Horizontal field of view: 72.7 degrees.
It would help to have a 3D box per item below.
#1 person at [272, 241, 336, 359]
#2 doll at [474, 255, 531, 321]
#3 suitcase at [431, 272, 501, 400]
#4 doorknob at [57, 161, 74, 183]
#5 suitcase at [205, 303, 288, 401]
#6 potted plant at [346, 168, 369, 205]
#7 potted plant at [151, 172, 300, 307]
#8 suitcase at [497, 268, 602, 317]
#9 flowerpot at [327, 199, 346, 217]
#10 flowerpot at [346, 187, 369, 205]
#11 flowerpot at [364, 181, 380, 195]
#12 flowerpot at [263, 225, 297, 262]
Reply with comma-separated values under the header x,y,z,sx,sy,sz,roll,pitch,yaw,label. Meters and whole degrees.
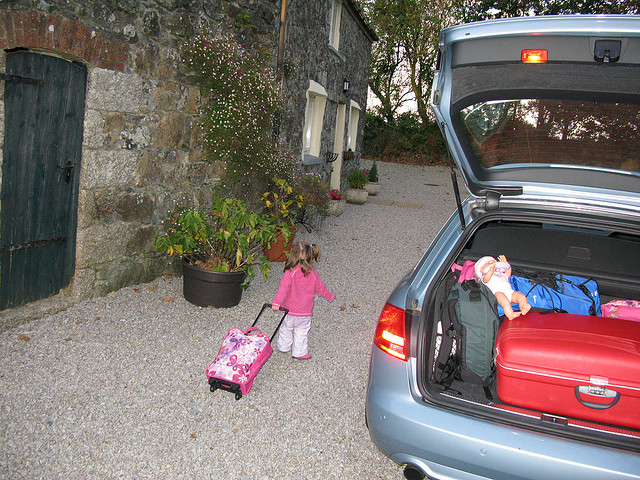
x,y,z,sx,sy,sz,roll,pitch,yaw,label
-0.184,0.589,4.041,0.547,1.133,0.266,-3,14,-21,person
1.244,0.283,2.976,0.264,0.247,0.540,-12,28,-7,doll
0.960,0.653,2.869,0.430,0.652,0.564,8,15,24,suitcase
-2.572,-0.692,4.380,0.057,0.226,0.196,14,13,41,doorknob
-0.624,0.972,3.967,0.461,0.467,0.948,14,41,13,suitcase
1.069,-1.574,11.889,0.520,0.864,0.594,7,-2,7,potted plant
-1.000,0.120,5.032,1.722,1.357,1.290,21,20,21,potted plant
1.692,0.426,3.203,0.589,0.415,0.235,6,-24,9,suitcase
0.365,-0.740,9.976,0.184,0.405,0.572,12,16,37,flowerpot
1.024,-1.202,11.681,0.428,0.337,0.458,1,9,-5,flowerpot
1.631,-1.587,13.249,0.382,0.330,0.409,2,10,-8,flowerpot
-0.572,0.138,6.475,0.479,0.439,0.498,5,32,2,flowerpot
